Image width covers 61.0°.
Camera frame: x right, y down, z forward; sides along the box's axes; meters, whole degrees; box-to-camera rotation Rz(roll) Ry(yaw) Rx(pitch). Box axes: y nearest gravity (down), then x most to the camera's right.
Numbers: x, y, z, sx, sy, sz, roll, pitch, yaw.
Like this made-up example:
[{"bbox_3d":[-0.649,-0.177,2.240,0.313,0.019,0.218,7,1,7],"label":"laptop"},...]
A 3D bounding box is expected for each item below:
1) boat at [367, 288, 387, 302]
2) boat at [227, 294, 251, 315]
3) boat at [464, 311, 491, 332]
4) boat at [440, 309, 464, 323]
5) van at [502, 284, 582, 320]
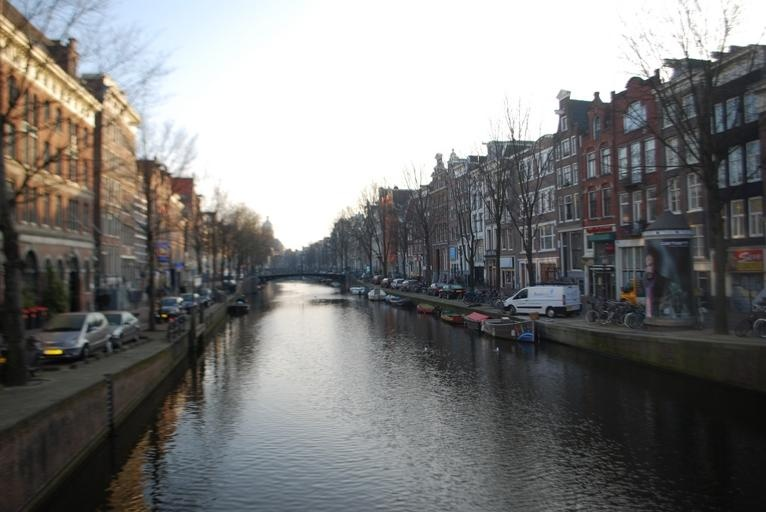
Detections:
[{"bbox_3d":[-0.654,4.729,80.217,1.475,1.168,4.216,-5,0,-6],"label":"boat"},{"bbox_3d":[-14.933,4.998,67.351,1.511,1.498,4.944,-1,-1,-6],"label":"boat"},{"bbox_3d":[6.594,4.545,45.356,0.969,0.984,2.709,-2,-7,-4],"label":"boat"},{"bbox_3d":[5.417,4.871,51.179,0.967,0.909,2.993,-3,9,-12],"label":"boat"},{"bbox_3d":[10.779,2.953,44.545,5.092,2.037,2.470,-1,-1,45],"label":"van"}]
